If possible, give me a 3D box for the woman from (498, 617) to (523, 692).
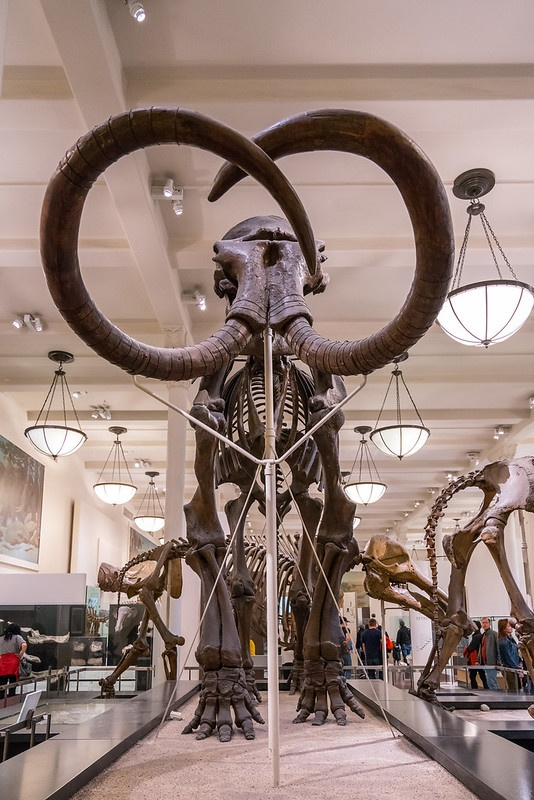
[{"bbox_3d":[3.730,4.034,8.862,0.353,1.361,0.298,-5,6,18],"label":"woman"}]
